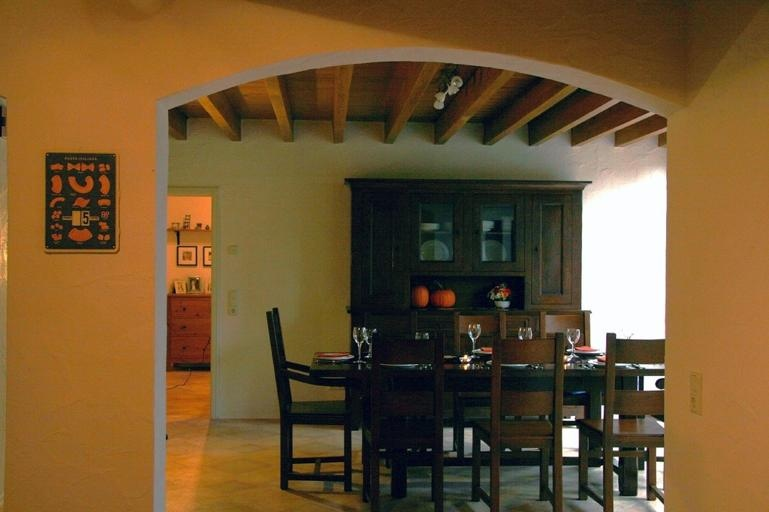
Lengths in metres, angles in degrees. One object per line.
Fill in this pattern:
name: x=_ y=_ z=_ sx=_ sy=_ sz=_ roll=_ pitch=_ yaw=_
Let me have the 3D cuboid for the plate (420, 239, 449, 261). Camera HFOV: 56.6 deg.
plate: x=0.463 y=-0.050 z=6.403 sx=0.272 sy=0.181 sz=0.059 roll=-1 pitch=5 yaw=-11

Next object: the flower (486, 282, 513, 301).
flower: x=1.068 y=0.318 z=6.543 sx=0.178 sy=0.153 sz=0.173 roll=1 pitch=0 yaw=-28

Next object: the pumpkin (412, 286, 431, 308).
pumpkin: x=0.329 y=0.376 z=6.457 sx=0.175 sy=0.210 sz=0.177 roll=1 pitch=-2 yaw=3

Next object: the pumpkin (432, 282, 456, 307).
pumpkin: x=0.573 y=0.348 z=6.518 sx=0.218 sy=0.298 sz=0.229 roll=-1 pitch=-1 yaw=41

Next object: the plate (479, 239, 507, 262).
plate: x=0.989 y=-0.044 z=6.355 sx=0.217 sy=0.195 sz=0.050 roll=-2 pitch=-1 yaw=-3

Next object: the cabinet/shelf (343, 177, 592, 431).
cabinet/shelf: x=0.662 y=0.348 z=5.703 sx=2.273 sy=1.970 sz=0.610 roll=0 pitch=-2 yaw=-4

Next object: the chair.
chair: x=0.657 y=1.065 z=4.665 sx=2.195 sy=1.203 sz=0.706 roll=0 pitch=5 yaw=-1
